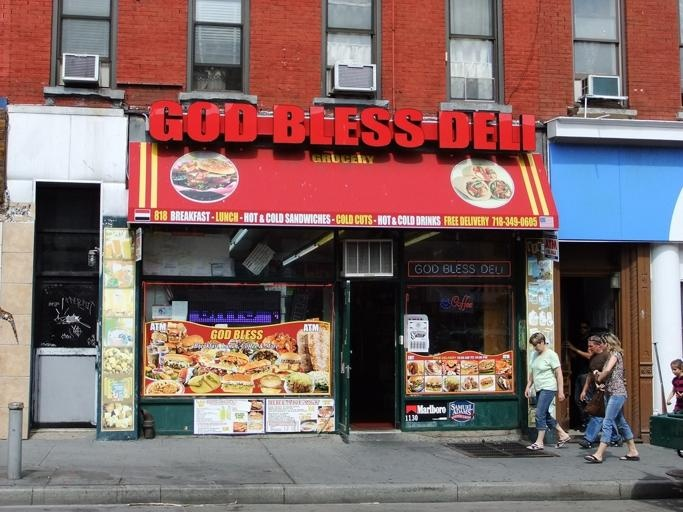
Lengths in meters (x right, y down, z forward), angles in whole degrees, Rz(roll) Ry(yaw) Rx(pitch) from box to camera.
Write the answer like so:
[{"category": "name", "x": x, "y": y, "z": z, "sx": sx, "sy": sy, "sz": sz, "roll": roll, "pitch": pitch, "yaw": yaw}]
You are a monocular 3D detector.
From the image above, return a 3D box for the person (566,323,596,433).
[{"category": "person", "x": 4.822, "y": 2.282, "z": 19.694, "sx": 0.543, "sy": 1.606, "sz": 0.539, "roll": 6, "pitch": 0, "yaw": 19}]

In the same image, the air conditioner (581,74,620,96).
[{"category": "air conditioner", "x": 4.929, "y": -3.203, "z": 19.517, "sx": 0.851, "sy": 0.478, "sz": 0.402, "roll": 1, "pitch": -4, "yaw": -12}]

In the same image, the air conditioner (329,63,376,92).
[{"category": "air conditioner", "x": 0.242, "y": -3.260, "z": 18.798, "sx": 0.925, "sy": 0.540, "sz": 0.503, "roll": 2, "pitch": -10, "yaw": -16}]

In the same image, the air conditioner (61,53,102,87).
[{"category": "air conditioner", "x": -4.565, "y": -3.308, "z": 18.347, "sx": 0.923, "sy": 0.593, "sz": 0.486, "roll": 0, "pitch": -2, "yaw": -3}]

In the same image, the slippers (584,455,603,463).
[{"category": "slippers", "x": 4.148, "y": 3.342, "z": 16.971, "sx": 0.233, "sy": 0.063, "sz": 0.120, "roll": 13, "pitch": -15, "yaw": -9}]

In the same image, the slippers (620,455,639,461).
[{"category": "slippers", "x": 4.838, "y": 3.381, "z": 17.282, "sx": 0.247, "sy": 0.065, "sz": 0.127, "roll": 2, "pitch": -7, "yaw": 0}]

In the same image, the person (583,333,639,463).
[{"category": "person", "x": 4.564, "y": 2.349, "z": 17.383, "sx": 0.982, "sy": 1.971, "sz": 1.105, "roll": 3, "pitch": 0, "yaw": 0}]
